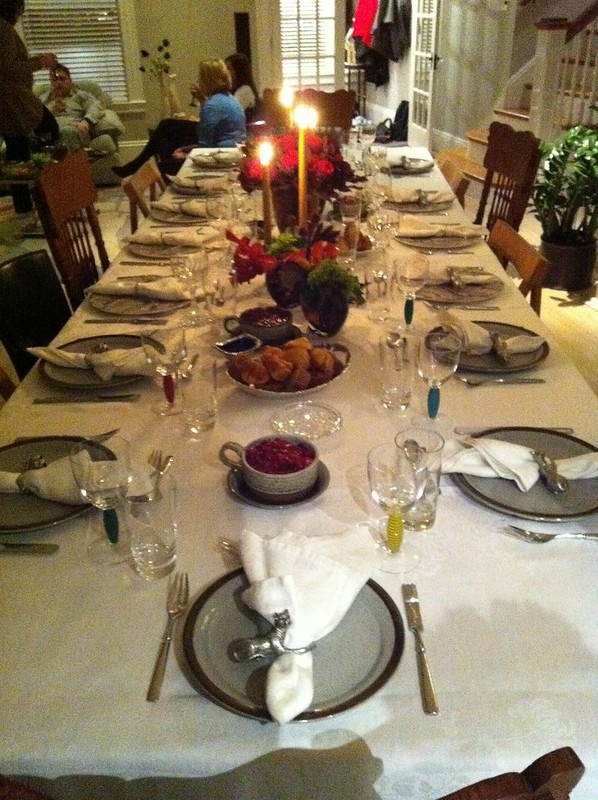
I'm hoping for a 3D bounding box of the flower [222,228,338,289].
[{"bbox_3d":[-0.073,-0.384,1.688,0.339,0.105,0.207,-5,-5,-27],"label":"flower"}]

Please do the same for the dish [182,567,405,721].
[{"bbox_3d":[-0.009,0.275,0.697,0.252,0.048,0.208,4,31,7],"label":"dish"}]
